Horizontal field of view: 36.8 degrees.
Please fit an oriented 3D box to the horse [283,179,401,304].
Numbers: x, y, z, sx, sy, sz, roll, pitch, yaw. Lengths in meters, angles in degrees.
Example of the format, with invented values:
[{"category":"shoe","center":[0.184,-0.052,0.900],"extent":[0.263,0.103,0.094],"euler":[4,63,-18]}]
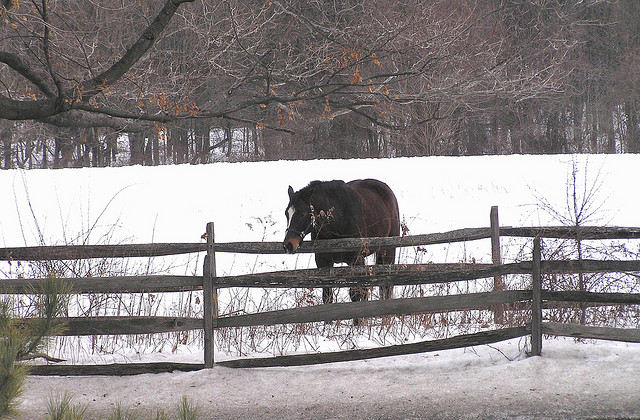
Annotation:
[{"category":"horse","center":[0.728,0.961,30.985],"extent":[4.206,3.903,1.403],"euler":[0,-3,-32]}]
